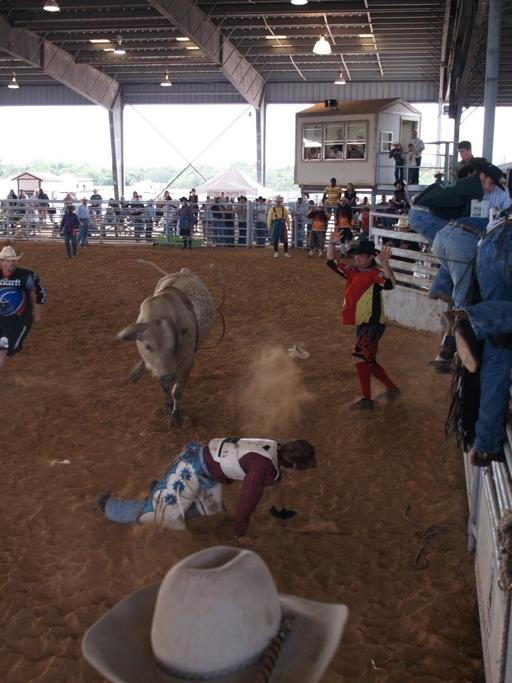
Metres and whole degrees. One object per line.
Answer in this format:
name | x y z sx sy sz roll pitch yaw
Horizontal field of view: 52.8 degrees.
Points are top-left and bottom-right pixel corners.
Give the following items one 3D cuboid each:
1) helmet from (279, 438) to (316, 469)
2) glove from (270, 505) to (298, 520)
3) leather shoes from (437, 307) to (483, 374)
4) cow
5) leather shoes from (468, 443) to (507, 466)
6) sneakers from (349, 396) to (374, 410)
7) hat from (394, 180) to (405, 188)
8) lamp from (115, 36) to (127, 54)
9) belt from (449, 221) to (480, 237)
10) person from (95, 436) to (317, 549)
helmet | 0.260 0.693 3.188 0.212 0.160 0.170 -13 21 12
glove | 0.217 1.280 3.862 0.091 0.062 0.162 -9 6 -44
leather shoes | 0.956 -0.045 2.363 0.115 0.116 0.400 -6 51 -3
cow | -0.813 -0.267 5.538 0.944 1.248 2.029 6 45 5
leather shoes | 1.183 0.579 2.656 0.143 0.102 0.195 1 -8 -2
sneakers | 1.199 0.687 5.837 0.228 0.144 0.126 7 4 1
hat | 4.198 -4.670 15.156 0.219 0.272 0.560 -1 4 11
lamp | -6.002 -13.344 22.998 0.583 0.550 0.382 0 -16 -3
belt | 1.406 -0.768 3.486 0.174 0.058 0.222 20 13 -17
person | -0.386 0.921 3.579 1.578 0.639 0.667 1 18 12
